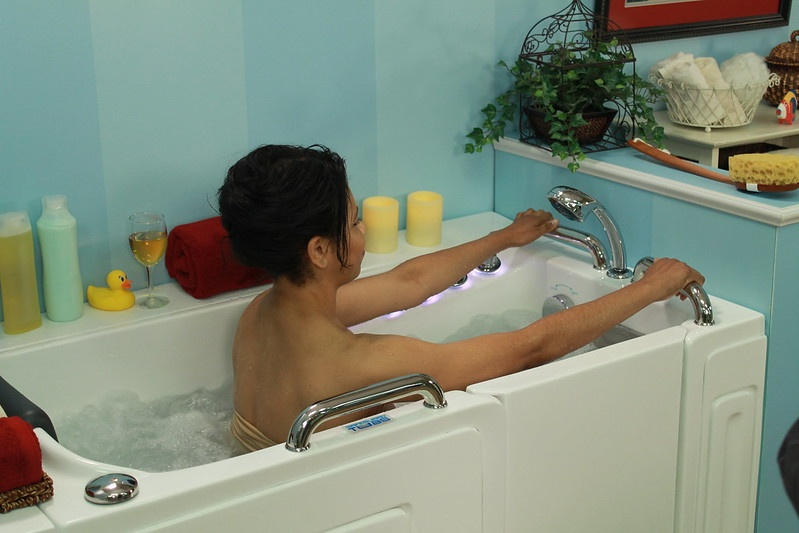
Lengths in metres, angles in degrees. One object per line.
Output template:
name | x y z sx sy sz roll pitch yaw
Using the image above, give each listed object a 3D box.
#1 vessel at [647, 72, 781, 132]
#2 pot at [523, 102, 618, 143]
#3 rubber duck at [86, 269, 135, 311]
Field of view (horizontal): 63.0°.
vessel | 1.125 -0.581 2.336 0.278 0.110 0.276 -9 20 -23
pot | 0.593 -0.491 2.268 0.309 0.154 0.152 -2 15 18
rubber duck | -0.879 0.064 1.994 0.147 0.113 0.114 6 17 8
